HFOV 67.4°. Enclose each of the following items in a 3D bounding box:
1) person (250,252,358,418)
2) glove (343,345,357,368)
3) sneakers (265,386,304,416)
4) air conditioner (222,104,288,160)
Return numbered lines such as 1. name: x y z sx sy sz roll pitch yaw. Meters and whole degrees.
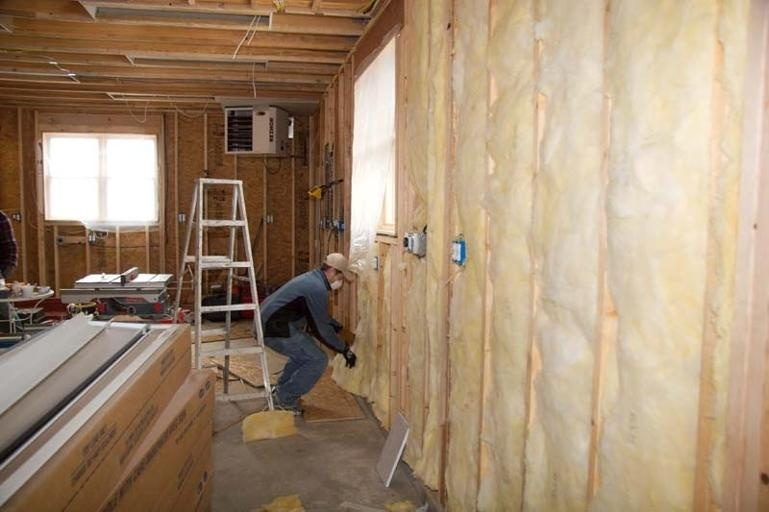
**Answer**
1. person: -0.608 0.607 4.645 0.742 1.192 0.561 -1 10 -14
2. glove: -0.266 0.829 4.768 0.138 0.176 0.057 9 3 22
3. sneakers: -0.750 1.135 4.537 0.257 0.165 0.439 -1 10 -12
4. air conditioner: -2.125 -1.741 7.915 1.176 0.638 1.163 -4 18 -27
